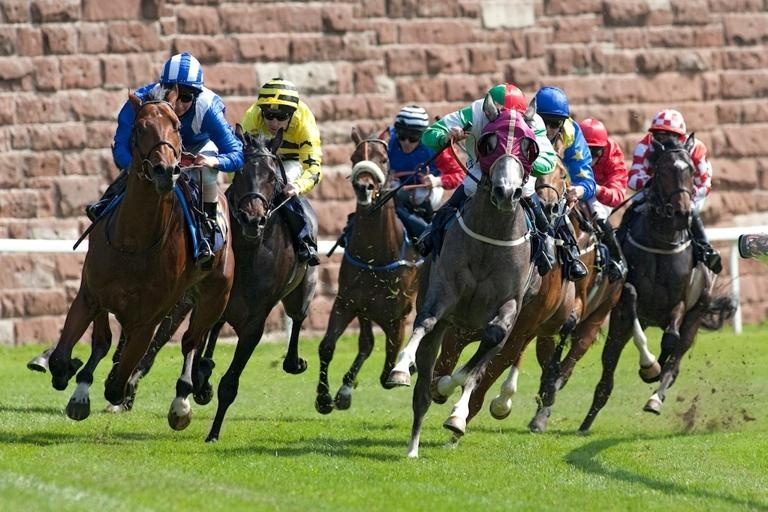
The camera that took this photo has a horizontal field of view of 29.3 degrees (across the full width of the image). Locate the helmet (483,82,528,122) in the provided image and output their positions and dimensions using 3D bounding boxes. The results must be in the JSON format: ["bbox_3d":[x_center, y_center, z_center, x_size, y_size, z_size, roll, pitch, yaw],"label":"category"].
[{"bbox_3d":[1.161,-1.580,14.750,0.435,0.382,0.334,26,-16,13],"label":"helmet"}]

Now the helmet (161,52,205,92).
[{"bbox_3d":[-2.051,-1.919,14.925,0.501,0.400,0.679,8,8,-7],"label":"helmet"}]

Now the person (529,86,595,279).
[{"bbox_3d":[1.878,-0.709,15.700,0.609,2.130,1.422,-3,-12,16],"label":"person"}]

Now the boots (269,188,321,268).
[{"bbox_3d":[-0.935,-0.298,16.082,0.319,0.982,0.528,-14,1,14],"label":"boots"}]

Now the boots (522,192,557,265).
[{"bbox_3d":[1.609,-0.238,15.106,0.239,0.879,0.268,-12,-9,23],"label":"boots"}]

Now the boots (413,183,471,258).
[{"bbox_3d":[0.561,-0.366,15.187,0.920,0.487,0.244,-12,4,39],"label":"boots"}]

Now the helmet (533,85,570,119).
[{"bbox_3d":[1.787,-1.716,15.941,0.518,0.292,0.413,0,15,-10],"label":"helmet"}]

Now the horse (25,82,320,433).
[{"bbox_3d":[-2.367,0.049,14.787,1.386,3.554,1.612,5,9,16],"label":"horse"}]
